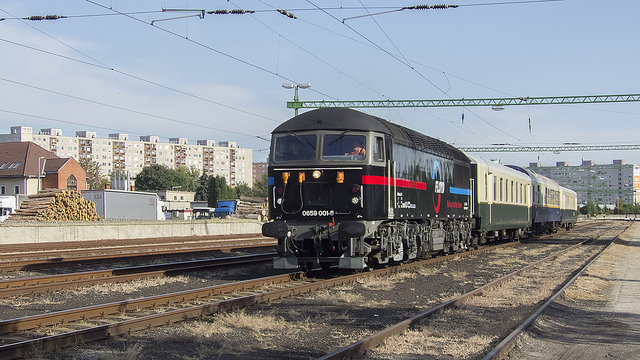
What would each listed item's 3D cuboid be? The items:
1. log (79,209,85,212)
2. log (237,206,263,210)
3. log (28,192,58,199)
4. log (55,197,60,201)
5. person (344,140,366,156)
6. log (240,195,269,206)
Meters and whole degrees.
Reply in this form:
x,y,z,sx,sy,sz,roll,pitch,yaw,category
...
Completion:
x,y,z,sx,sy,sz,roll,pitch,yaw,category
-20.066,2.570,48.542,0.066,0.216,0.415,0,-4,43,log
-11.136,4.421,89.531,3.320,0.371,1.244,0,-3,30,log
-23.482,1.319,48.940,2.982,0.411,0.519,-2,1,31,log
-21.554,1.584,47.261,0.271,0.177,0.146,-1,-13,3,log
1.376,-1.399,22.026,0.467,0.602,0.906,3,0,22,person
-10.614,3.239,91.970,2.522,0.675,2.551,-4,-11,27,log
